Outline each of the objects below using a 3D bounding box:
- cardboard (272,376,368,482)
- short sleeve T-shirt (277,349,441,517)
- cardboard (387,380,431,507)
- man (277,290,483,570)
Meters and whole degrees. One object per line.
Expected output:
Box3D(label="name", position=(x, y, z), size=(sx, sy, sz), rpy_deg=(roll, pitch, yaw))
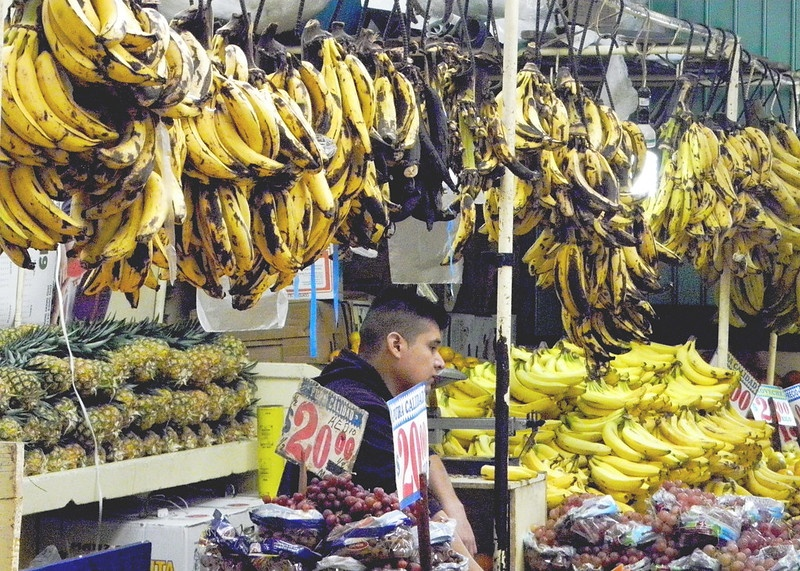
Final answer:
Box3D(label="cardboard", position=(-0.313, 0.581, 4.838), size=(0.325, 0.380, 0.032), rpy_deg=(18, 18, 5))
Box3D(label="short sleeve T-shirt", position=(-0.157, 0.594, 5.119), size=(0.435, 0.839, 0.186), rpy_deg=(8, 0, 20))
Box3D(label="cardboard", position=(0.025, 0.632, 4.667), size=(0.019, 0.488, 0.426), rpy_deg=(-2, 8, 23))
Box3D(label="man", position=(-0.110, 0.535, 5.974), size=(0.998, 2.116, 0.894), rpy_deg=(-1, -3, -4))
